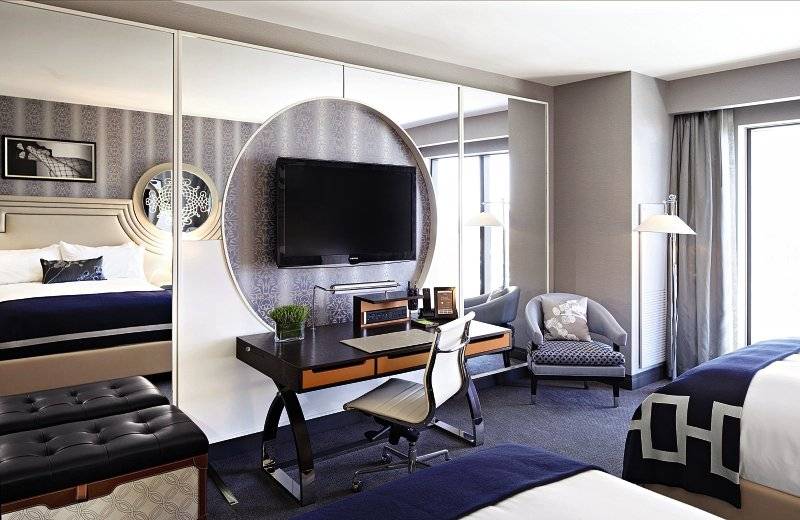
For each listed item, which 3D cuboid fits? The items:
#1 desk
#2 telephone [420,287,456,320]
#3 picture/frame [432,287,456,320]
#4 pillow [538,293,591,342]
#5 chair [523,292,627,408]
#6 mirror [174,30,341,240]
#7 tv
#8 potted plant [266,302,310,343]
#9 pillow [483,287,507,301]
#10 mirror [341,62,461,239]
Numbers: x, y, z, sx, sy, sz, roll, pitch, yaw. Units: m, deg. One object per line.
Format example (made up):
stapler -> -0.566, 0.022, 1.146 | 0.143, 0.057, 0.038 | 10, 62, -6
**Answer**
desk -> -0.382, 0.749, 4.040 | 2.406, 1.179, 1.197 | -2, 3, -38
telephone -> 0.322, 0.381, 4.608 | 0.317, 0.260, 0.203 | -2, -8, -1
picture/frame -> 0.375, 0.383, 4.533 | 0.289, 0.348, 0.048 | 1, -6, -20
pillow -> 1.629, 0.592, 5.192 | 0.438, 0.413, 0.156 | 1, -20, 2
chair -> 1.721, 0.878, 5.310 | 0.956, 1.053, 1.043 | 1, -13, 4
mirror -> -1.136, -0.947, 3.992 | 1.787, 1.208, 0.041 | 0, 1, -33
tv -> -0.504, -0.393, 4.306 | 1.024, 0.666, 0.103 | 0, 0, -31
potted plant -> -0.825, 0.457, 3.997 | 0.327, 0.307, 0.250 | 0, -2, -37
pillow -> 0.955, 0.345, 5.238 | 0.181, 0.132, 0.132 | 2, 0, -14
mirror -> -0.031, -0.952, 4.588 | 1.758, 0.966, 0.042 | 0, -1, -34
